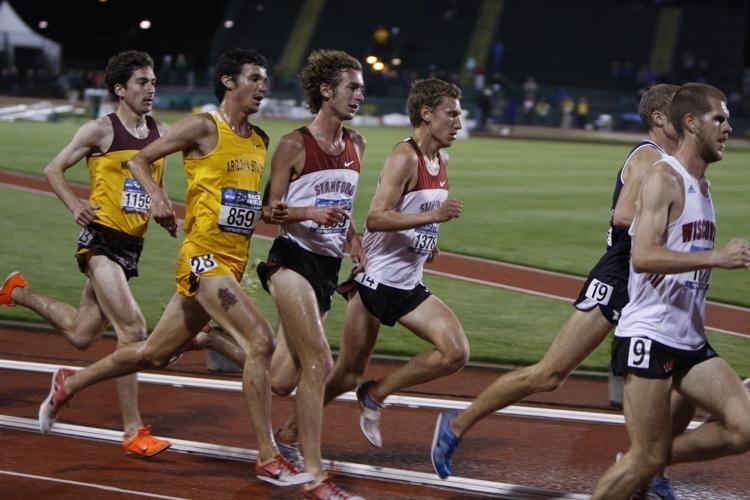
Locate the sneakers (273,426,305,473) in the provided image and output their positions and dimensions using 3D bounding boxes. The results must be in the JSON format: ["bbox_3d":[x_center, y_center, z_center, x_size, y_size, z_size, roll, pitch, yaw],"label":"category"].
[{"bbox_3d":[-0.546,1.287,5.029,0.148,0.347,0.120,-39,49,-21],"label":"sneakers"}]

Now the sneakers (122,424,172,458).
[{"bbox_3d":[-1.392,1.175,4.958,0.298,0.135,0.142,1,10,22],"label":"sneakers"}]

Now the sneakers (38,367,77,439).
[{"bbox_3d":[-2.015,0.949,5.074,0.202,0.447,0.157,10,-13,15],"label":"sneakers"}]

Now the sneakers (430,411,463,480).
[{"bbox_3d":[0.434,1.176,4.807,0.183,0.145,0.450,-35,2,18],"label":"sneakers"}]

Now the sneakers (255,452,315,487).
[{"bbox_3d":[-0.529,1.246,4.572,0.374,0.153,0.144,1,-1,28],"label":"sneakers"}]
